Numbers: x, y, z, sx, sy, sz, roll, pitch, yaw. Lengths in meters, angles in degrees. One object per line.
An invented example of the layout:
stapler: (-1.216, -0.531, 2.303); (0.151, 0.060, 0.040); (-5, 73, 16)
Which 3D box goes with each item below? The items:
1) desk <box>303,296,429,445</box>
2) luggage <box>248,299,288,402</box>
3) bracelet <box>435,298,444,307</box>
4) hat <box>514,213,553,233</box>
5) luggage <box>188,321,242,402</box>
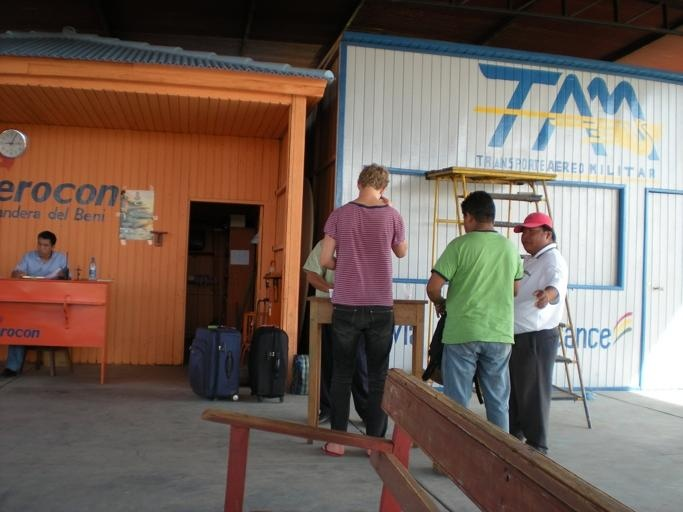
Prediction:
desk: (0.254, 1.026, 7.553); (1.179, 1.383, 0.981); (1, 6, 6)
luggage: (-0.926, 1.298, 9.233); (0.646, 1.388, 0.880); (0, -1, -10)
bracelet: (0.890, 0.421, 6.497); (0.079, 0.093, 0.102); (5, 9, 27)
hat: (1.964, -0.347, 7.142); (0.292, 0.187, 0.231); (7, -7, -1)
luggage: (-1.638, 1.303, 8.822); (0.482, 0.938, 0.619); (3, 1, -41)
